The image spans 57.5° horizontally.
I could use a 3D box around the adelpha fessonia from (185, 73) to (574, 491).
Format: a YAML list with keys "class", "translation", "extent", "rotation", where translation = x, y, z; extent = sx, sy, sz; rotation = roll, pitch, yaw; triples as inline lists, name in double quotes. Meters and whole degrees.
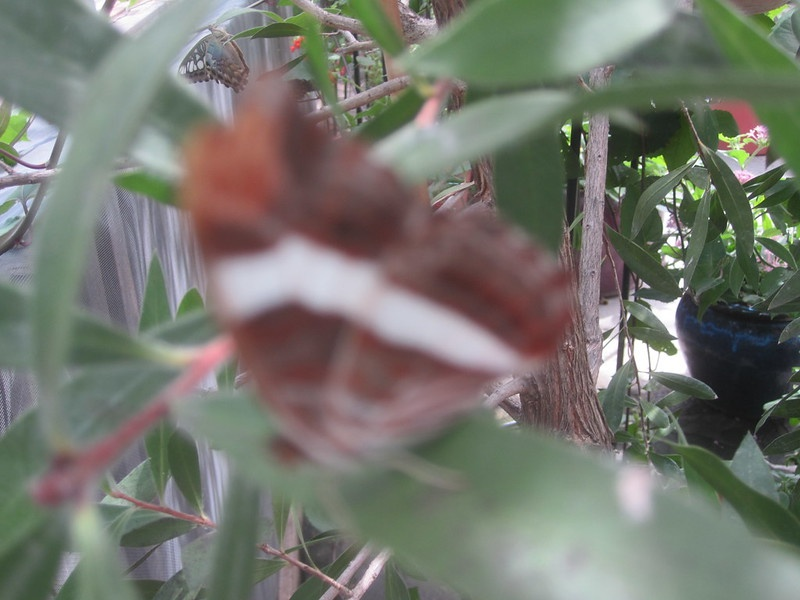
- class: "adelpha fessonia"
  translation: [-0.013, -0.019, 0.274]
  extent: [0.146, 0.140, 0.061]
  rotation: [22, 13, -7]

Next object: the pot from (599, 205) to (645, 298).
- class: "pot"
  translation: [0.590, -0.135, 1.916]
  extent: [0.132, 0.155, 0.137]
  rotation: [-9, 47, 10]

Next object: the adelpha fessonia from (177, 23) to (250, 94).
- class: "adelpha fessonia"
  translation: [-0.298, -0.377, 1.138]
  extent: [0.064, 0.099, 0.054]
  rotation: [17, 62, 26]
